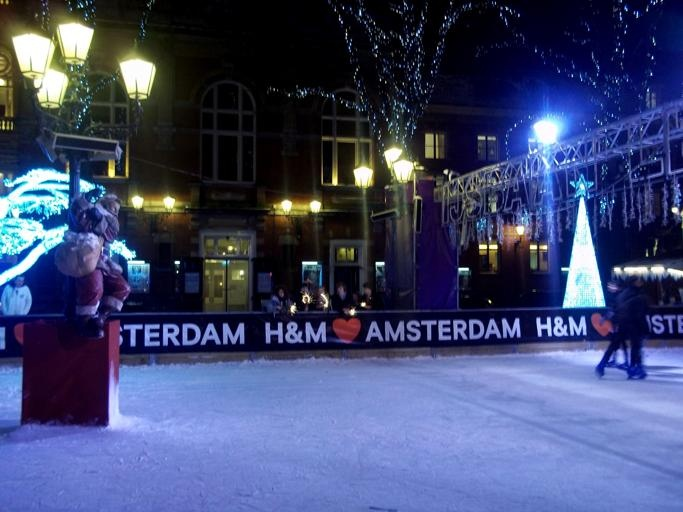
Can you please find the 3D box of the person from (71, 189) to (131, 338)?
[{"bbox_3d":[-4.017,0.141,12.394,0.844,2.317,0.591,-4,8,-24],"label":"person"}]

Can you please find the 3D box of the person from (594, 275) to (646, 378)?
[{"bbox_3d":[6.239,1.509,16.560,0.847,2.448,0.742,3,22,8],"label":"person"}]
